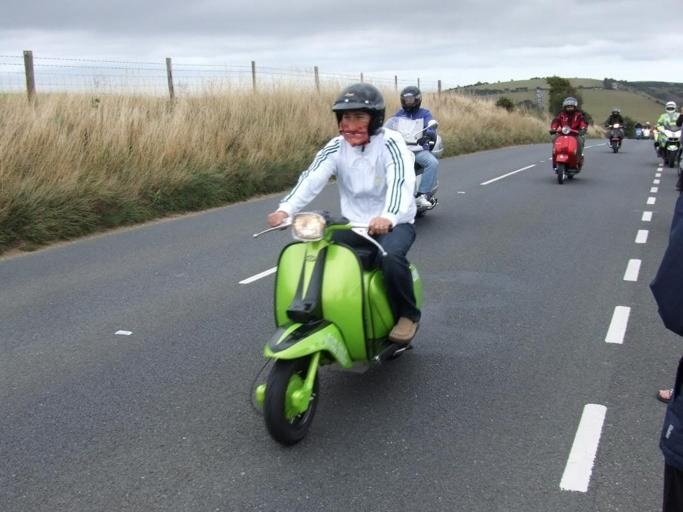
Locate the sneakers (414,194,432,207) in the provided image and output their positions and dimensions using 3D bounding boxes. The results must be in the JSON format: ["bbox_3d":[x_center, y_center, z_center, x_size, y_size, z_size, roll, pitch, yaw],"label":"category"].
[{"bbox_3d":[1.556,-1.068,10.261,0.145,0.221,0.474,-3,4,4],"label":"sneakers"}]

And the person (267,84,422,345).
[{"bbox_3d":[0.157,-0.337,4.125,1.161,2.012,0.960,-13,12,-41],"label":"person"}]

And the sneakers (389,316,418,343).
[{"bbox_3d":[0.474,0.572,4.136,0.107,0.112,0.285,4,15,17],"label":"sneakers"}]

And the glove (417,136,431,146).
[{"bbox_3d":[1.599,-2.272,10.449,0.134,0.192,0.296,6,19,34],"label":"glove"}]

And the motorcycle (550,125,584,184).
[{"bbox_3d":[6.753,-3.091,16.134,0.746,1.281,1.958,1,12,25],"label":"motorcycle"}]

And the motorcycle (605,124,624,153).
[{"bbox_3d":[14.718,-6.545,29.020,0.789,1.168,1.885,0,12,16],"label":"motorcycle"}]

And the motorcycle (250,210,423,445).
[{"bbox_3d":[-0.116,0.374,3.649,0.673,1.146,1.828,-3,9,28],"label":"motorcycle"}]

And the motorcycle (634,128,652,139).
[{"bbox_3d":[27.755,-11.461,49.593,0.915,1.262,1.871,-1,10,34],"label":"motorcycle"}]

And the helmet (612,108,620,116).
[{"bbox_3d":[14.765,-7.903,28.996,0.362,0.219,0.567,-1,10,10],"label":"helmet"}]

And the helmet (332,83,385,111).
[{"bbox_3d":[0.149,-1.152,3.930,0.216,0.176,0.320,6,12,33],"label":"helmet"}]
